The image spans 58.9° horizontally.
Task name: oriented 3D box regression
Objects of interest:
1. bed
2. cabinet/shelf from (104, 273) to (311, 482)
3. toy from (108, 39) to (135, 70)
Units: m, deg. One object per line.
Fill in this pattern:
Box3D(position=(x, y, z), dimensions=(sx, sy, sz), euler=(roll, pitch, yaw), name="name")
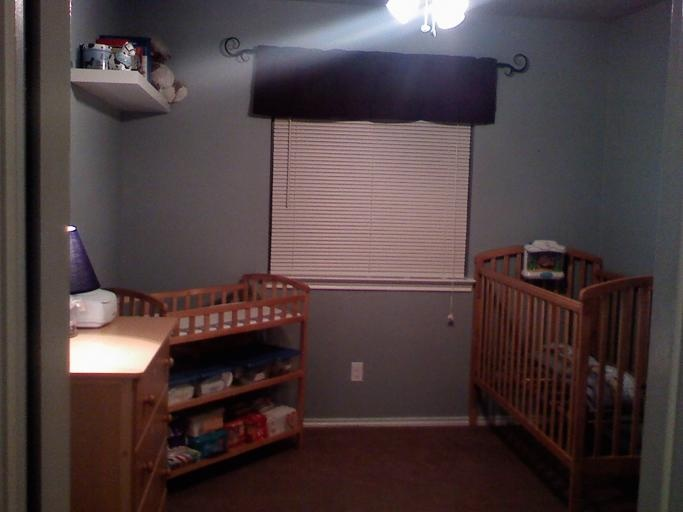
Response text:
Box3D(position=(1.050, 0.537, 3.296), dimensions=(0.796, 1.153, 1.298), euler=(0, 10, -6), name="bed")
Box3D(position=(-0.674, 0.583, 3.275), dimensions=(0.844, 0.798, 0.476), euler=(0, -5, -31), name="cabinet/shelf")
Box3D(position=(-1.045, -0.954, 2.869), dimensions=(0.103, 0.151, 0.142), euler=(-1, 11, -9), name="toy")
